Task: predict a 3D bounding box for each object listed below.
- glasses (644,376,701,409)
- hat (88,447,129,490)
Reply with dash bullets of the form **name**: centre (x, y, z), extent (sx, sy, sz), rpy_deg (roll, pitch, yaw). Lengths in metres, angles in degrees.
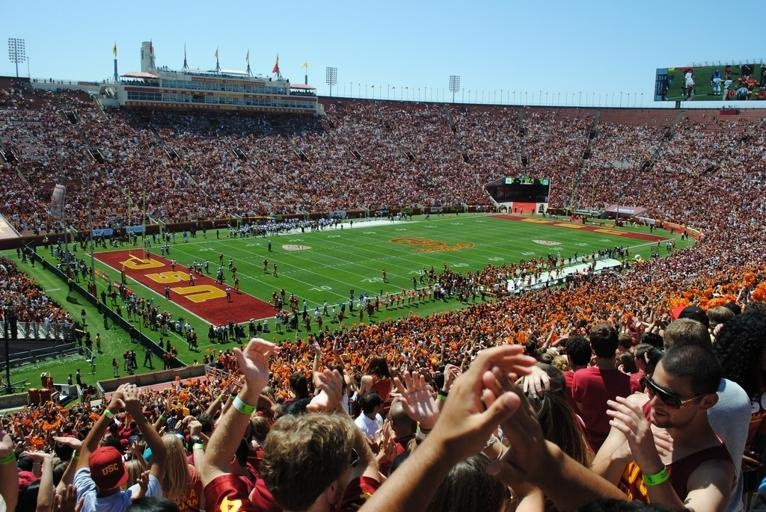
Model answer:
- **glasses**: centre (2.555, 1.212, 5.342), extent (0.436, 0.212, 0.154), rpy_deg (8, 13, 38)
- **hat**: centre (-2.665, 2.057, 5.860), extent (0.294, 0.224, 0.425), rpy_deg (-14, 45, -39)
